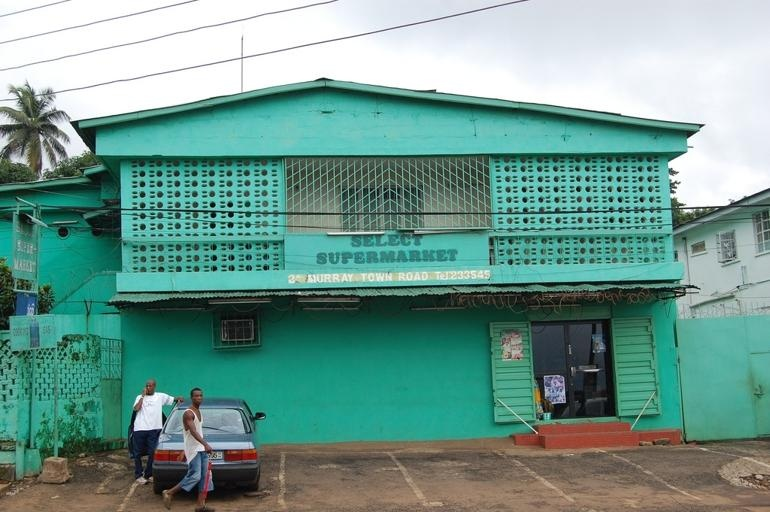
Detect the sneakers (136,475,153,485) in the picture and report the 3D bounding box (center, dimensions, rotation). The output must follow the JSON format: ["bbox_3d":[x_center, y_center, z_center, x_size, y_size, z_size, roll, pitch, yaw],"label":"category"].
[{"bbox_3d":[-5.642,5.162,18.651,0.367,0.216,0.278,1,-12,-18],"label":"sneakers"}]

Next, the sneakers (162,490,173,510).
[{"bbox_3d":[-4.597,5.053,16.806,0.219,0.458,0.176,0,0,-1],"label":"sneakers"}]
